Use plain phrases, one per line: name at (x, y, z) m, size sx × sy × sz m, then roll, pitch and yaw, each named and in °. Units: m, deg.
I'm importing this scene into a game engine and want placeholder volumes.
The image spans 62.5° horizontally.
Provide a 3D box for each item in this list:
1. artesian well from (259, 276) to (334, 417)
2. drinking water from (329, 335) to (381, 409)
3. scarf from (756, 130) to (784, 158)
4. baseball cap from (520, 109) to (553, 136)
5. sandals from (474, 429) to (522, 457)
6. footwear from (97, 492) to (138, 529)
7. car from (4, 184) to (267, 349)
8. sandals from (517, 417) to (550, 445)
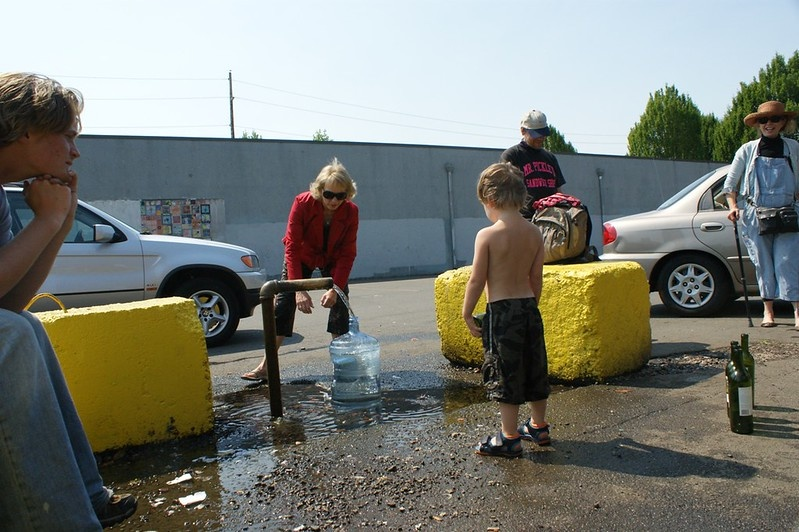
artesian well at (-0.833, 0.613, 5.328) m, size 0.477 × 1.114 × 0.514 m, roll 0°, pitch 1°, yaw 0°
drinking water at (-0.403, 0.891, 5.900) m, size 0.428 × 0.800 × 0.434 m, roll 0°, pitch 2°, yaw 3°
scarf at (4.004, -1.284, 7.115) m, size 0.271 × 0.237 × 0.175 m, roll 2°, pitch 1°, yaw 41°
baseball cap at (1.334, -1.393, 6.488) m, size 0.273 × 0.247 × 0.228 m, roll -3°, pitch 9°, yaw 5°
sandals at (0.638, 1.165, 4.265) m, size 0.260 × 0.139 × 0.139 m, roll 3°, pitch -1°, yaw 17°
footwear at (-1.573, 1.360, 3.685) m, size 0.087 × 0.132 × 0.263 m, roll 5°, pitch 9°, yaw 44°
car at (-3.068, 0.051, 8.354) m, size 2.991 × 1.537 × 1.535 m, roll -6°, pitch -2°, yaw -23°
sandals at (0.891, 1.107, 4.425) m, size 0.105 × 0.119 × 0.233 m, roll -3°, pitch 7°, yaw -30°
